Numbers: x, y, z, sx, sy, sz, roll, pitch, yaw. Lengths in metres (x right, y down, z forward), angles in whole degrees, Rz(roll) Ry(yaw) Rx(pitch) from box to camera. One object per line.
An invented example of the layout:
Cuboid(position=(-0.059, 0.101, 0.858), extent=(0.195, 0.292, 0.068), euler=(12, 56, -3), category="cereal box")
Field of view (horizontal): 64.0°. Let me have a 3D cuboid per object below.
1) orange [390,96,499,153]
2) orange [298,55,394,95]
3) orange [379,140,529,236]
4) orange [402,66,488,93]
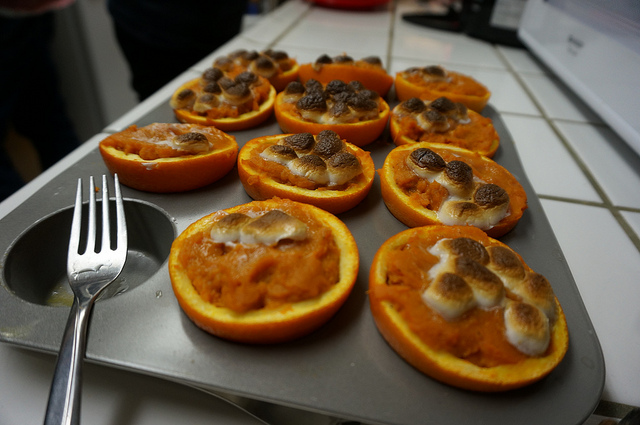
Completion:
Cuboid(position=(0.433, -0.299, 1.752), extent=(0.253, 0.084, 0.239), euler=(15, 38, 11), category="orange")
Cuboid(position=(0.097, -0.554, 1.998), extent=(0.253, 0.095, 0.249), euler=(19, 29, 36), category="orange")
Cuboid(position=(0.396, -0.058, 1.545), extent=(0.335, 0.124, 0.321), euler=(4, 46, -2), category="orange")
Cuboid(position=(0.445, -0.534, 2.091), extent=(0.337, 0.109, 0.259), euler=(-1, 9, -11), category="orange")
